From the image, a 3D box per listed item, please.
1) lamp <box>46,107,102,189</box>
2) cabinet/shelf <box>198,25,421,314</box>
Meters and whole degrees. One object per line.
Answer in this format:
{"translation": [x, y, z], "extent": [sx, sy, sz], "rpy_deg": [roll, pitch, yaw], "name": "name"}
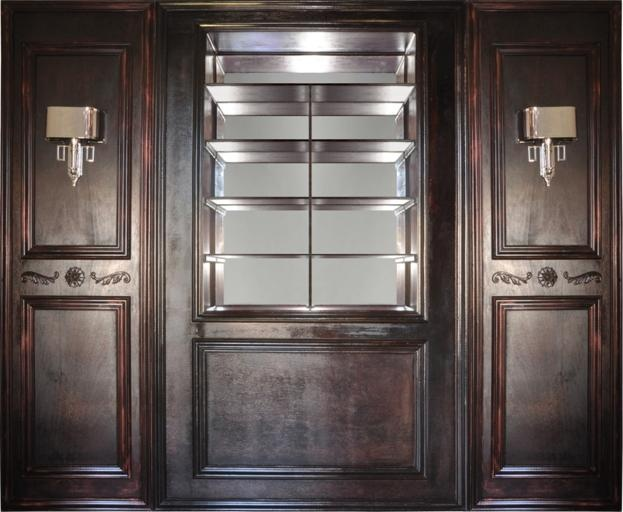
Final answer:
{"translation": [-1.248, -0.573, 4.075], "extent": [0.277, 0.411, 0.117], "rpy_deg": [0, 5, 2], "name": "lamp"}
{"translation": [-0.027, -0.472, 4.369], "extent": [1.346, 1.891, 0.539], "rpy_deg": [0, -2, -2], "name": "cabinet/shelf"}
